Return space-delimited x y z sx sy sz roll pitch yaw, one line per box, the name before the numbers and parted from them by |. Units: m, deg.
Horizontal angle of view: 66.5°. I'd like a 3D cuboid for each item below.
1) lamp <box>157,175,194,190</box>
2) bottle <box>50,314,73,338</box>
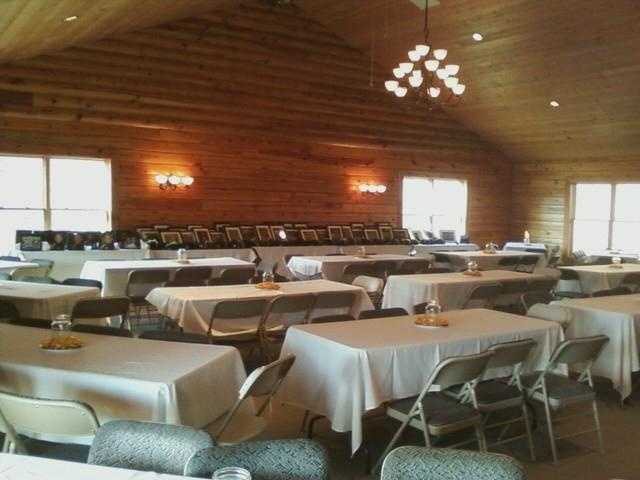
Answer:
lamp | -2.808 -1.157 9.576 0.786 0.308 0.207 -2 4 -31
bottle | -1.560 0.507 2.935 0.096 0.138 0.193 -2 3 -22
